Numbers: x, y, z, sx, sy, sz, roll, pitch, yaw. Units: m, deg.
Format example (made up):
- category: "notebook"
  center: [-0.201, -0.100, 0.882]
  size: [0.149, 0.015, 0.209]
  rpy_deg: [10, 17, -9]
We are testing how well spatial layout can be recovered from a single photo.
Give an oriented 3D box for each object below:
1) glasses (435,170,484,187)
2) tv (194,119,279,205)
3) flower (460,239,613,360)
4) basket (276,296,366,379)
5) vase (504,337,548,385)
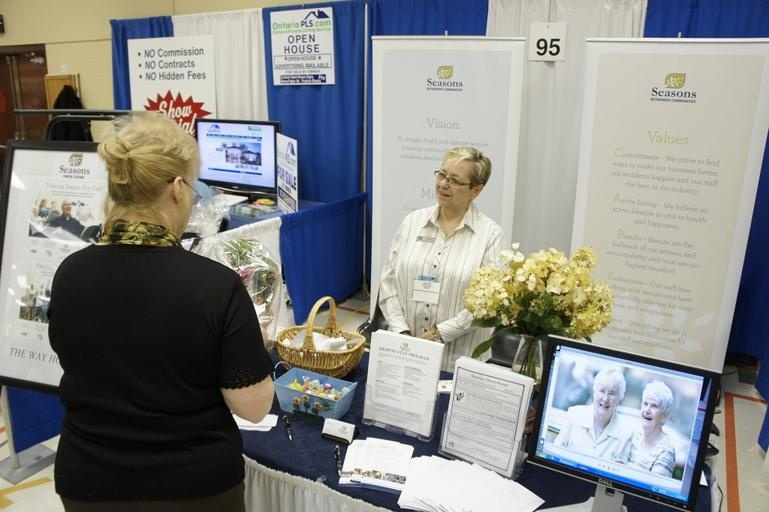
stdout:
- category: "glasses"
  center: [0.442, -0.443, 3.050]
  size: [0.276, 0.079, 0.110]
  rpy_deg: [2, 13, -4]
- category: "tv"
  center: [-1.570, -1.015, 5.516]
  size: [0.215, 0.725, 0.982]
  rpy_deg: [13, 12, 40]
- category: "flower"
  center: [0.731, 0.263, 2.399]
  size: [0.516, 0.589, 0.570]
  rpy_deg: [8, 16, 29]
- category: "basket"
  center: [-0.315, 0.375, 2.595]
  size: [0.433, 0.382, 0.275]
  rpy_deg: [9, 16, 25]
- category: "vase"
  center: [0.617, 0.448, 2.286]
  size: [0.112, 0.225, 0.099]
  rpy_deg: [10, -2, 15]
